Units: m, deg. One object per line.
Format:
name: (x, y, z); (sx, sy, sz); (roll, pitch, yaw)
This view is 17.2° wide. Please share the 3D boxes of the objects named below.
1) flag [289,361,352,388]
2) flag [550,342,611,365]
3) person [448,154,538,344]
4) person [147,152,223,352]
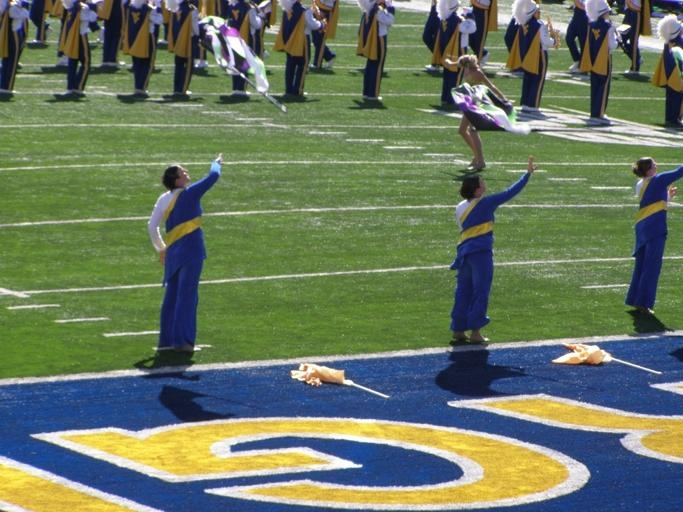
flag: (-0.336, 1.667, 31.951); (0.579, 0.175, 0.365); (7, 7, 5)
flag: (3.487, 1.423, 32.815); (0.560, 0.174, 0.393); (2, 8, 20)
person: (2.046, 0.062, 33.143); (0.861, 2.474, 0.382); (5, 10, 2)
person: (-2.307, -0.041, 32.406); (0.917, 2.817, 0.474); (4, 10, -4)
